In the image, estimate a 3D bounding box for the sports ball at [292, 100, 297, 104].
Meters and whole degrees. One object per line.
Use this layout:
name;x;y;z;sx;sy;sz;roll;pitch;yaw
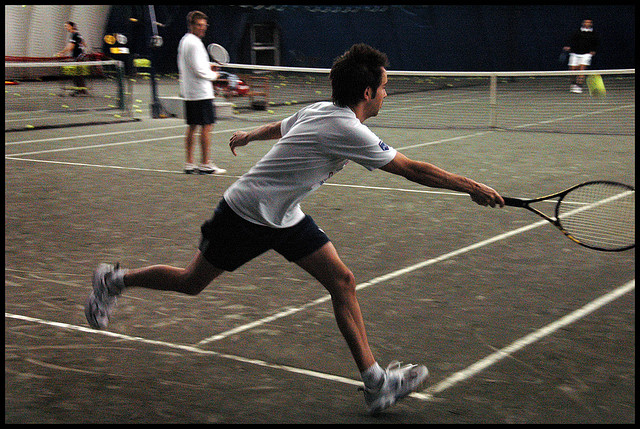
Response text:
sports ball;-0.958;-4.149;18.799;0.249;0.097;0.269;0;14;0

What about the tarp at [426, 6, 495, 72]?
tarp;6.981;-8.742;25.291;3.050;3.049;0.397;4;11;10

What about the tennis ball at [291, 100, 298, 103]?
tennis ball;-0.926;-4.207;18.978;0.305;0.074;0.185;-2;9;-14

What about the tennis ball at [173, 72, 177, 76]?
tennis ball;-8.270;-8.023;29.135;0.221;0.136;0.144;-7;14;-8

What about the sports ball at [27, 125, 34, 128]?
sports ball;-7.790;-2.372;13.713;0.236;0.069;0.251;3;7;0

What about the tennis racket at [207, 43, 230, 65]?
tennis racket;-2.317;-3.676;11.637;0.408;0.479;0.856;0;8;-14
